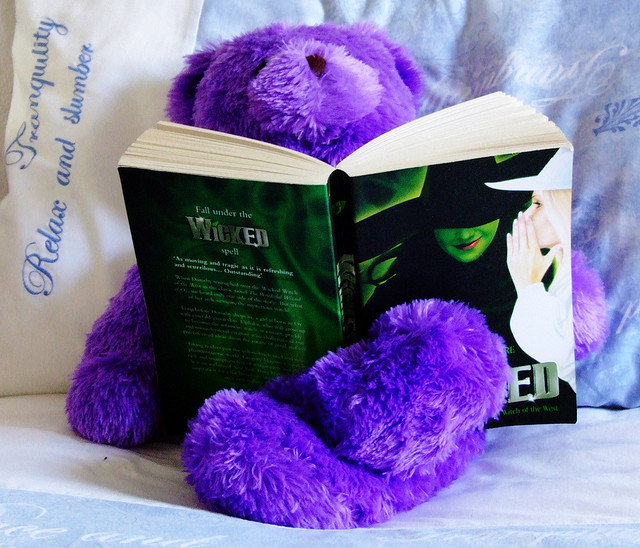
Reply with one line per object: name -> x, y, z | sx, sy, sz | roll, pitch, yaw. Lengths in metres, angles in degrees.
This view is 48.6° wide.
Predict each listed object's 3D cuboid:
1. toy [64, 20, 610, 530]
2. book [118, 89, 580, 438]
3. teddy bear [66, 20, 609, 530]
toy -> -0.013, -0.011, 0.844 | 0.591, 0.547, 0.360 | -6, 10, -3
book -> 0.034, -0.005, 0.764 | 0.351, 0.311, 0.123 | -6, 23, 15
teddy bear -> -0.007, -0.017, 0.843 | 0.592, 0.560, 0.353 | -6, 13, 2
